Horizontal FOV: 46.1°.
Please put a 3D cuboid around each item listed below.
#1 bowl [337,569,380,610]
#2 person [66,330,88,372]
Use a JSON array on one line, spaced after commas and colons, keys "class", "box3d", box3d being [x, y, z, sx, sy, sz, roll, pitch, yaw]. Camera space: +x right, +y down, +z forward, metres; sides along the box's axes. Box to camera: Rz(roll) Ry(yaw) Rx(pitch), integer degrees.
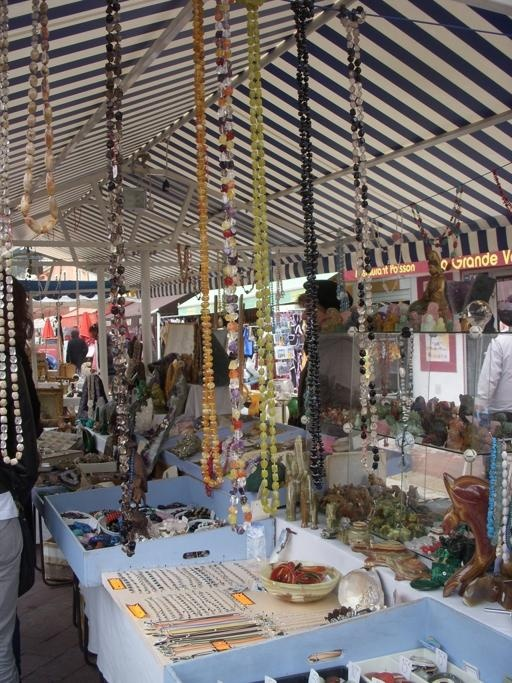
[{"class": "bowl", "box3d": [0.306, 0.746, 1.791, 0.092, 0.112, 0.094, 0, -25, 0]}, {"class": "person", "box3d": [-3.628, 0.282, 12.244, 0.453, 1.031, 0.256, -7, 31, -24]}]
